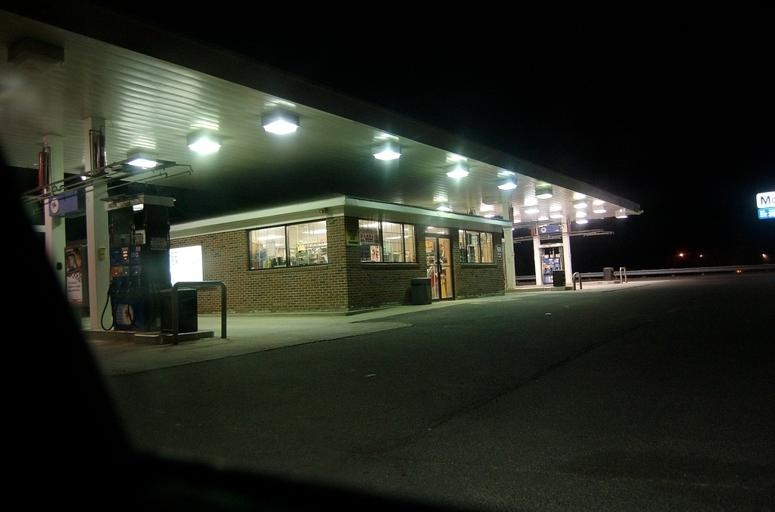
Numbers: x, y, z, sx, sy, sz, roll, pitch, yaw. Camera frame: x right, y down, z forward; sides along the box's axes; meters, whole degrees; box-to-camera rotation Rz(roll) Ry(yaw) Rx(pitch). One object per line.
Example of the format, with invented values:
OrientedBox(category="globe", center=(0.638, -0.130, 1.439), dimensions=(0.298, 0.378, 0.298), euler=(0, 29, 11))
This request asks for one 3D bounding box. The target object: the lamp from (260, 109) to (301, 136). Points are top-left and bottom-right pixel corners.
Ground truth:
OrientedBox(category="lamp", center=(-2.484, -2.998, 14.300), dimensions=(0.564, 0.254, 0.580), euler=(-5, -6, 41))

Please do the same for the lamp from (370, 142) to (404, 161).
OrientedBox(category="lamp", center=(0.011, -2.883, 17.410), dimensions=(0.637, 0.413, 0.979), euler=(-5, 9, -19))

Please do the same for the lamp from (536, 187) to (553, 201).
OrientedBox(category="lamp", center=(5.949, -2.365, 24.107), dimensions=(0.479, 0.278, 0.461), euler=(1, -4, -32))

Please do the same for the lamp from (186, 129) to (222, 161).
OrientedBox(category="lamp", center=(-4.545, -2.786, 15.836), dimensions=(0.584, 0.349, 0.565), euler=(6, -15, -34))

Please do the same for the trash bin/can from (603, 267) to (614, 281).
OrientedBox(category="trash bin/can", center=(13.347, 1.147, 38.325), dimensions=(0.486, 1.050, 1.869), euler=(0, 9, 16))

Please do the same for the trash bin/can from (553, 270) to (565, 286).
OrientedBox(category="trash bin/can", center=(8.262, 1.088, 30.671), dimensions=(0.502, 0.817, 0.802), euler=(-1, 9, 11))

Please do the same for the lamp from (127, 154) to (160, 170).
OrientedBox(category="lamp", center=(-5.765, -2.221, 15.002), dimensions=(0.644, 0.159, 0.718), euler=(-7, -4, 39))
